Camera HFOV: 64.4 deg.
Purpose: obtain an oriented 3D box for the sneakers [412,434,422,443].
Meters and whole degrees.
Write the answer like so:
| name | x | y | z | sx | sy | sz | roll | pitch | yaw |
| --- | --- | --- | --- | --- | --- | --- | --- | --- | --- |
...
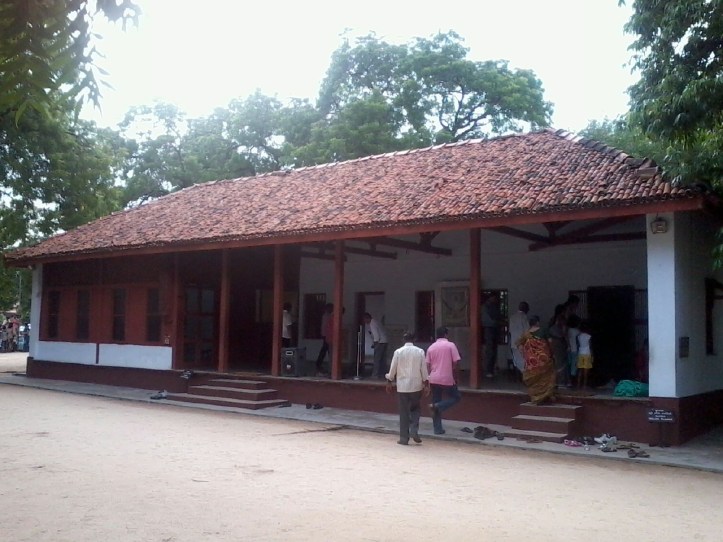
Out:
| name | x | y | z | sx | sy | sz | roll | pitch | yaw |
| --- | --- | --- | --- | --- | --- | --- | --- | --- | --- |
| sneakers | 0.983 | 2.924 | 9.998 | 0.172 | 0.144 | 0.115 | 21 | -19 | -24 |

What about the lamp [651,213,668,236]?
| name | x | y | z | sx | sy | sz | roll | pitch | yaw |
| --- | --- | --- | --- | --- | --- | --- | --- | --- | --- |
| lamp | 5.165 | -0.794 | 9.990 | 0.278 | 0.343 | 0.295 | 2 | -2 | -6 |

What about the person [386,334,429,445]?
| name | x | y | z | sx | sy | sz | roll | pitch | yaw |
| --- | --- | --- | --- | --- | --- | --- | --- | --- | --- |
| person | 0.834 | 2.060 | 10.168 | 0.584 | 1.892 | 0.632 | -2 | -5 | 41 |

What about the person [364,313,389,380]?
| name | x | y | z | sx | sy | sz | roll | pitch | yaw |
| --- | --- | --- | --- | --- | --- | --- | --- | --- | --- |
| person | 0.362 | 1.869 | 14.471 | 0.534 | 1.565 | 1.188 | 1 | -4 | 2 |

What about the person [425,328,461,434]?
| name | x | y | z | sx | sy | sz | roll | pitch | yaw |
| --- | --- | --- | --- | --- | --- | --- | --- | --- | --- |
| person | 1.504 | 2.031 | 10.666 | 0.584 | 1.941 | 0.372 | 0 | -4 | 7 |

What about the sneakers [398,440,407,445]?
| name | x | y | z | sx | sy | sz | roll | pitch | yaw |
| --- | --- | --- | --- | --- | --- | --- | --- | --- | --- |
| sneakers | 0.709 | 2.945 | 9.903 | 0.182 | 0.076 | 0.203 | 1 | -5 | 4 |

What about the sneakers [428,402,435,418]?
| name | x | y | z | sx | sy | sz | roll | pitch | yaw |
| --- | --- | --- | --- | --- | --- | --- | --- | --- | --- |
| sneakers | 1.300 | 2.572 | 10.581 | 0.109 | 0.251 | 0.247 | 1 | -5 | 2 |
